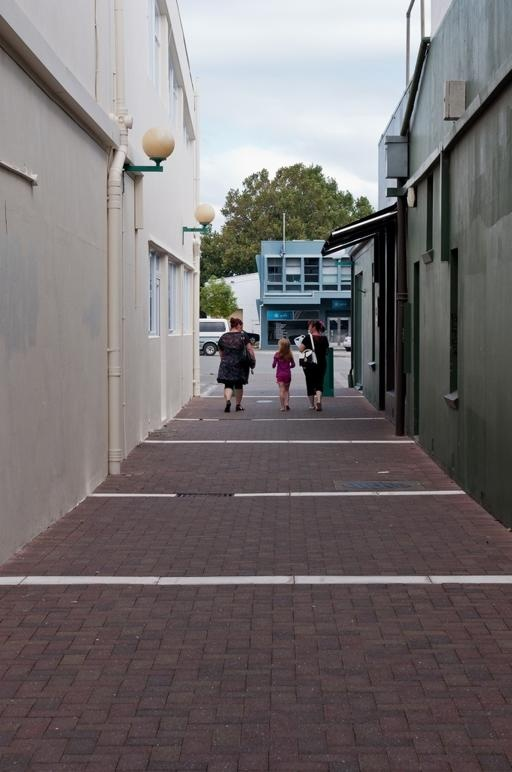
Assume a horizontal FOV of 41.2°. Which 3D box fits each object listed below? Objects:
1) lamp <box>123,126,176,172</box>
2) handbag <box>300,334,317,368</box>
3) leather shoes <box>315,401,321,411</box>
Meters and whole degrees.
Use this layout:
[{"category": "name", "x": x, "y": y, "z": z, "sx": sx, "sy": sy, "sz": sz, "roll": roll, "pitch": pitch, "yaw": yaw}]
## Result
[{"category": "lamp", "x": -1.393, "y": -3.154, "z": 9.261, "sx": 0.574, "sy": 0.923, "sz": 0.514, "roll": 0, "pitch": -1, "yaw": -2}, {"category": "handbag", "x": 1.183, "y": -0.718, "z": 15.328, "sx": 0.315, "sy": 1.041, "sz": 0.595, "roll": -1, "pitch": -4, "yaw": 4}, {"category": "leather shoes", "x": 1.419, "y": 0.468, "z": 15.224, "sx": 0.111, "sy": 0.197, "sz": 0.280, "roll": 0, "pitch": -1, "yaw": -1}]
